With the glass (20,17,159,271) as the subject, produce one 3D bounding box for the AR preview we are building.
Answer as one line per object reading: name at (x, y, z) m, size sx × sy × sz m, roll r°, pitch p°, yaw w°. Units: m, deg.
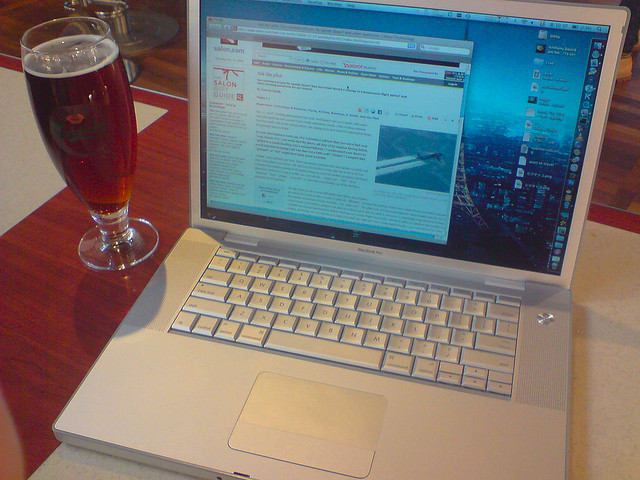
glass at (-0.302, -0.128, 0.752) m, size 0.126 × 0.289 × 0.238 m, roll -13°, pitch 46°, yaw -13°
